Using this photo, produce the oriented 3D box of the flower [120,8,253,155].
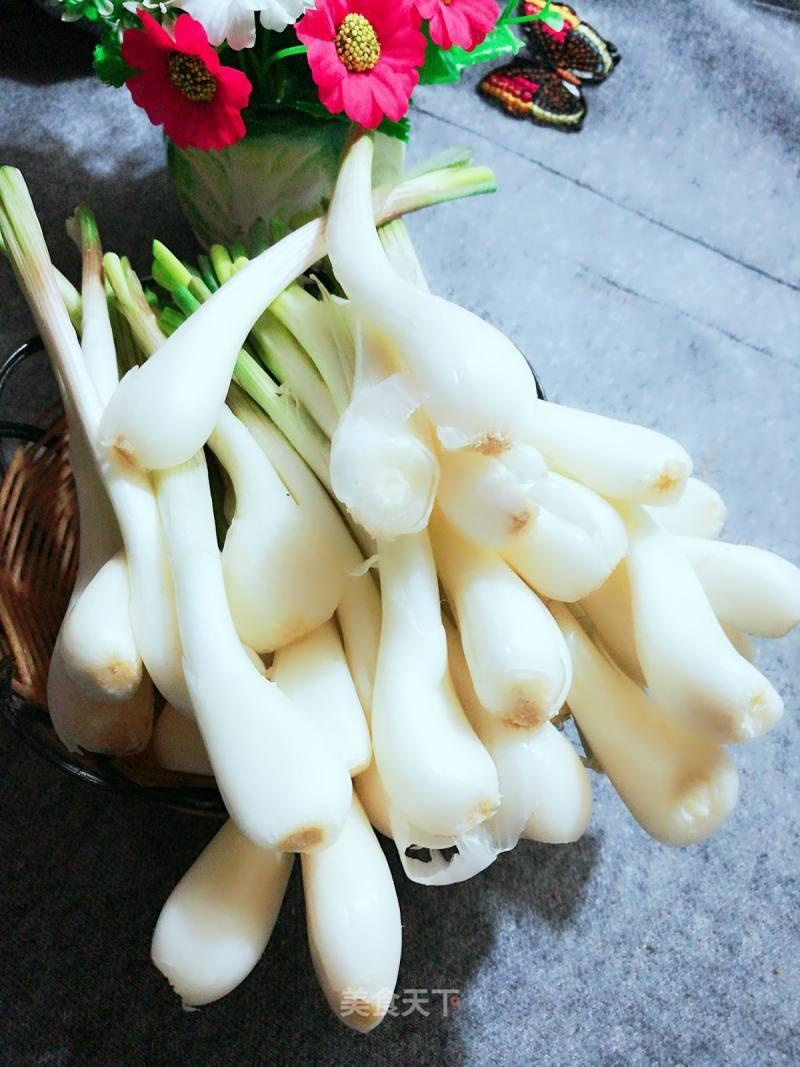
[{"bbox_3d":[-0.133,-0.307,0.678,0.081,0.079,0.031,26,46,-4],"label":"flower"}]
